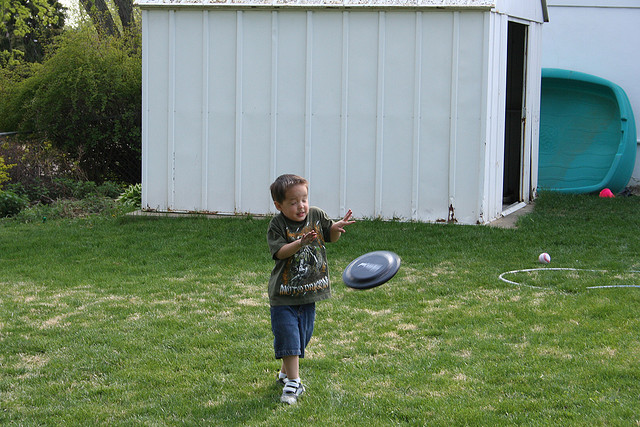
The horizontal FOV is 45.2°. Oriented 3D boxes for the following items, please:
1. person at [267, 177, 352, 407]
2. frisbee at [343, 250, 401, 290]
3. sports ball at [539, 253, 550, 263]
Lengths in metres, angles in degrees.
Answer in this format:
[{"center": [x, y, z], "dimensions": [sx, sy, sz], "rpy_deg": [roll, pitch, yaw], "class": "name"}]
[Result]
[{"center": [-0.200, 0.811, 8.138], "dimensions": [0.666, 2.380, 0.531], "rpy_deg": [1, 4, -6], "class": "person"}, {"center": [0.561, 0.639, 8.496], "dimensions": [0.617, 0.415, 0.454], "rpy_deg": [2, 5, 6], "class": "frisbee"}, {"center": [3.186, 0.640, 10.963], "dimensions": [0.114, 0.130, 0.128], "rpy_deg": [16, -7, 43], "class": "sports ball"}]
